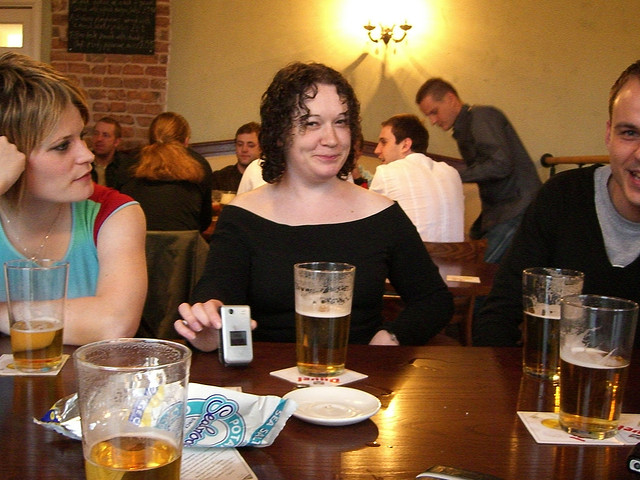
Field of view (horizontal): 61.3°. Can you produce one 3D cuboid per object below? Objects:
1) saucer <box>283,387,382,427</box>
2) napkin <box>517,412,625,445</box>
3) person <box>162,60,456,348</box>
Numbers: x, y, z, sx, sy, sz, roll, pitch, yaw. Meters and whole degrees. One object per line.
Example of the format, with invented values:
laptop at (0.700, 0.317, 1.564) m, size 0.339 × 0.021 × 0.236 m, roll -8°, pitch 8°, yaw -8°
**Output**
saucer at (0.021, 0.282, 0.908) m, size 0.154 × 0.039 × 0.102 m, roll 0°, pitch 3°, yaw -2°
napkin at (0.410, 0.310, 0.898) m, size 0.161 × 0.001 × 0.101 m, roll 6°, pitch 16°, yaw -1°
person at (0.049, -0.138, 1.652) m, size 0.731 × 0.902 × 0.578 m, roll 2°, pitch 5°, yaw 8°
